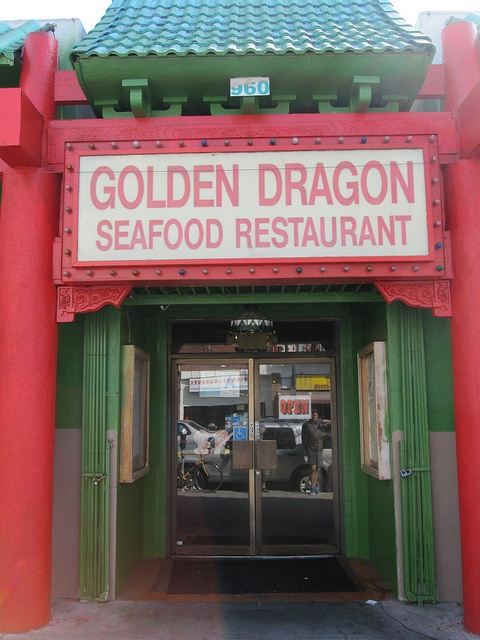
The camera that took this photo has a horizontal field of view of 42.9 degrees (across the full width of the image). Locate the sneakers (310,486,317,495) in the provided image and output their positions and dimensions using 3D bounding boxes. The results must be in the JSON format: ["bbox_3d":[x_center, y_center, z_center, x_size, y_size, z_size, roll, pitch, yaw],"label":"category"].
[{"bbox_3d":[0.846,1.965,7.003,0.111,0.088,0.039,3,-13,-3],"label":"sneakers"}]
